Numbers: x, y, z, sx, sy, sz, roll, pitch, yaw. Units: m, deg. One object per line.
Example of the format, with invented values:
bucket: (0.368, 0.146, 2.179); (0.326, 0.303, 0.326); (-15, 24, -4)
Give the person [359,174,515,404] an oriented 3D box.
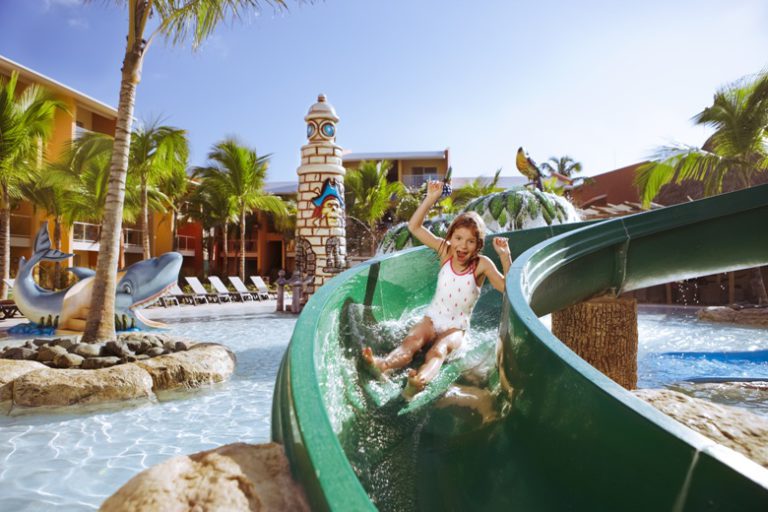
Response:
person: (0.441, 0.266, 3.667); (0.973, 1.078, 1.667); (11, 33, 23)
